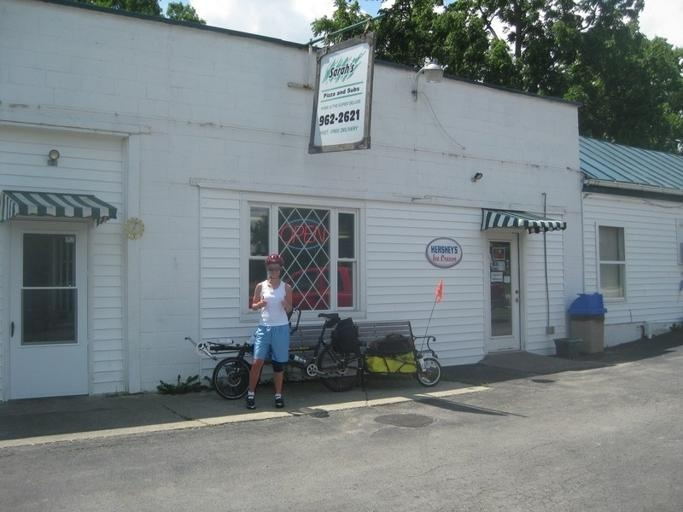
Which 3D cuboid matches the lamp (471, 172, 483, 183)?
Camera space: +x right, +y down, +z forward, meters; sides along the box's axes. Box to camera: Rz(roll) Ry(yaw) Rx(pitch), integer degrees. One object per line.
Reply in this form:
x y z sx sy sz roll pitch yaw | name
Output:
2.997 -1.701 13.954 0.125 0.242 0.390 4 4 45 | lamp

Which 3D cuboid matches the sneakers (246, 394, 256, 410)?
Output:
-1.377 2.201 9.749 0.145 0.204 0.203 0 3 -11 | sneakers

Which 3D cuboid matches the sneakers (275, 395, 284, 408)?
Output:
-0.967 2.244 9.887 0.127 0.104 0.255 1 -13 -6 | sneakers

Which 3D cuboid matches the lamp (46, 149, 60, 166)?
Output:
-4.597 -1.556 10.217 0.180 0.275 0.126 -1 4 -27 | lamp

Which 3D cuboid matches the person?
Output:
-1.111 1.152 9.860 0.666 2.329 0.402 0 4 -9 | person
